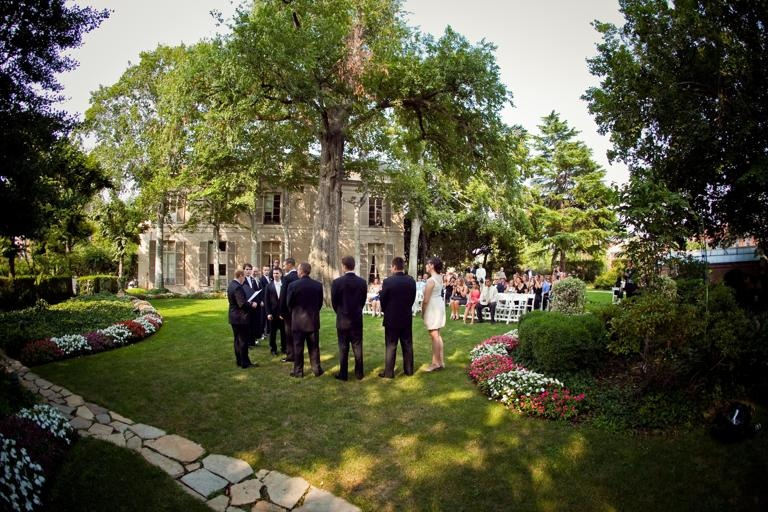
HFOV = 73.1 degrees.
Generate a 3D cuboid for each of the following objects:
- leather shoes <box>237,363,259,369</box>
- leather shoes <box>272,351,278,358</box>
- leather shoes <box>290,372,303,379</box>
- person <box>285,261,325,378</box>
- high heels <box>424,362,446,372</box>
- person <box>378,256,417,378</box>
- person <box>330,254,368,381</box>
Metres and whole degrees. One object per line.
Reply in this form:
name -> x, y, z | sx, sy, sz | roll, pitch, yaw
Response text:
leather shoes -> -3.255, 2.615, 12.346 | 0.444, 0.200, 0.155 | -2, -1, -7
leather shoes -> -2.838, 2.561, 13.420 | 0.076, 0.096, 0.206 | -2, -4, -42
leather shoes -> -1.994, 2.736, 11.861 | 0.218, 0.084, 0.144 | -4, -4, 27
person -> -1.835, 1.484, 12.018 | 0.845, 2.598, 0.741 | 1, -4, -7
high heels -> 1.217, 2.669, 12.464 | 0.512, 0.240, 0.177 | 5, -2, -2
person -> 0.313, 1.422, 12.055 | 0.785, 2.779, 0.828 | 0, -4, 0
person -> -0.812, 1.430, 11.958 | 0.753, 2.803, 0.836 | 1, -4, -4
